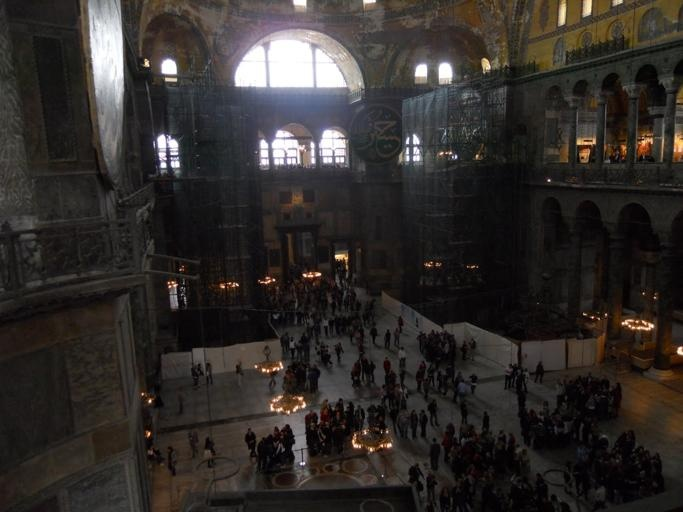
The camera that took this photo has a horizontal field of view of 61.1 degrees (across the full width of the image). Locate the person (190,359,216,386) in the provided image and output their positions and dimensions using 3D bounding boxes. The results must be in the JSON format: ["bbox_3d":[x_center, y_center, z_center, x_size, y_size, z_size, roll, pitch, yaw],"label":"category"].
[{"bbox_3d":[-5.202,4.407,21.686,0.845,1.692,0.855,-4,9,-17],"label":"person"}]

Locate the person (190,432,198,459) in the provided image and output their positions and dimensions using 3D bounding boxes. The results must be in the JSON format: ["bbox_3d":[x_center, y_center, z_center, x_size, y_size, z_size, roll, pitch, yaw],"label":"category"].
[{"bbox_3d":[-4.340,5.392,16.929,0.225,0.787,0.672,-5,9,-17],"label":"person"}]
